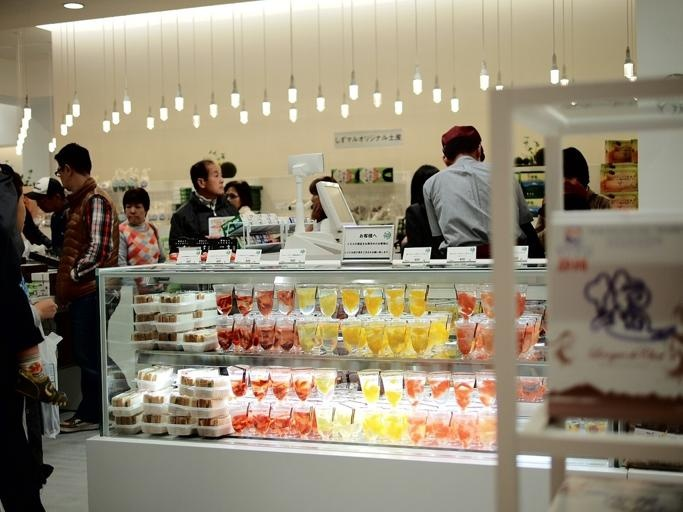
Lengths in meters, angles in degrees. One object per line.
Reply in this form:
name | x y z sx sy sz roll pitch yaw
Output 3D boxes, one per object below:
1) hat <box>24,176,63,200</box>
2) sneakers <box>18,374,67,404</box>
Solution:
hat | -2.818 -0.638 6.622 0.285 0.202 0.200 2 3 -19
sneakers | -1.360 0.611 3.197 0.228 0.115 0.097 26 25 -42
